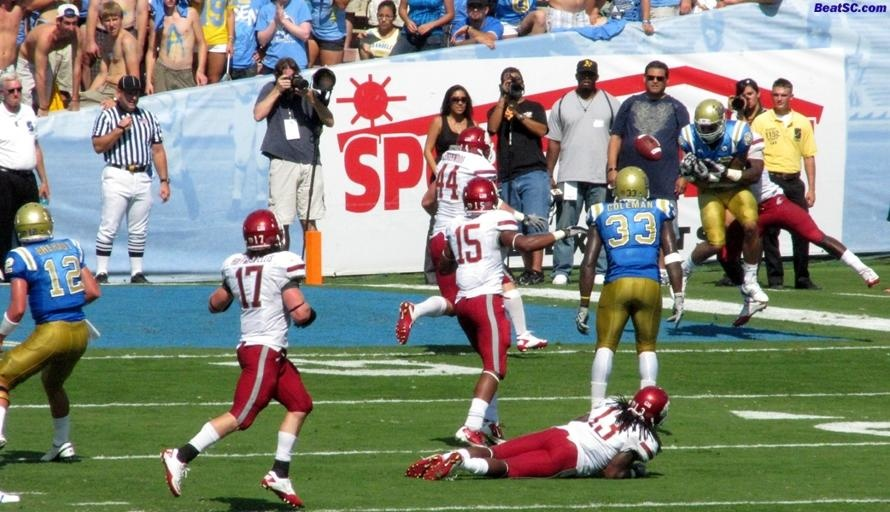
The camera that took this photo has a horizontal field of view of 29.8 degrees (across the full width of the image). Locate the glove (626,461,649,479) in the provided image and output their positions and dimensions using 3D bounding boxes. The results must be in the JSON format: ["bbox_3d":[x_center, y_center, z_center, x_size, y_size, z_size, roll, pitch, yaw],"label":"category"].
[{"bbox_3d":[2.112,2.336,18.499,0.202,0.172,0.096,-5,25,-32],"label":"glove"}]

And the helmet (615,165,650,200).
[{"bbox_3d":[2.225,-0.906,20.000,0.357,0.316,0.423,2,15,8],"label":"helmet"}]

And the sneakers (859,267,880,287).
[{"bbox_3d":[5.735,0.269,22.756,0.201,0.255,0.360,1,5,10],"label":"sneakers"}]

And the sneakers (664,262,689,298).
[{"bbox_3d":[2.868,0.222,20.670,0.261,0.273,0.685,-1,-17,-1],"label":"sneakers"}]

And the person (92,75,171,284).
[{"bbox_3d":[-4.804,-1.151,25.335,1.043,3.115,0.953,1,5,14],"label":"person"}]

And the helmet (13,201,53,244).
[{"bbox_3d":[-4.673,-0.386,19.018,0.426,0.367,0.489,-6,10,2],"label":"helmet"}]

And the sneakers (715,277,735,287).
[{"bbox_3d":[4.283,0.365,25.697,0.261,0.129,0.074,27,-23,36],"label":"sneakers"}]

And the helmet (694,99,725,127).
[{"bbox_3d":[3.501,-1.924,22.297,0.389,0.334,0.256,0,5,6],"label":"helmet"}]

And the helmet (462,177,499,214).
[{"bbox_3d":[0.434,-0.754,19.865,0.350,0.329,0.458,10,17,32],"label":"helmet"}]

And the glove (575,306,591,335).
[{"bbox_3d":[1.733,0.791,20.466,0.198,0.222,0.369,7,-27,-11],"label":"glove"}]

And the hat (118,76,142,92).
[{"bbox_3d":[-4.676,-2.561,24.819,0.232,0.155,0.317,-2,6,-36],"label":"hat"}]

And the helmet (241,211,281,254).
[{"bbox_3d":[-1.979,-0.301,18.360,0.421,0.360,0.491,0,8,17],"label":"helmet"}]

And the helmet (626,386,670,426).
[{"bbox_3d":[2.217,1.632,18.452,0.433,0.434,0.214,0,5,-1],"label":"helmet"}]

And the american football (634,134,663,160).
[{"bbox_3d":[2.809,-1.504,23.170,0.426,0.245,0.287,38,14,22],"label":"american football"}]

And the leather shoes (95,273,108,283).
[{"bbox_3d":[-5.257,0.305,25.650,0.204,0.100,0.274,1,-2,-5],"label":"leather shoes"}]

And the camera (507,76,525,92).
[{"bbox_3d":[1.061,-2.530,24.628,0.122,0.188,0.274,3,6,36],"label":"camera"}]

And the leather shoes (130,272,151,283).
[{"bbox_3d":[-4.718,0.312,25.895,0.144,0.111,0.285,1,-4,-37],"label":"leather shoes"}]

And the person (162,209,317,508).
[{"bbox_3d":[-2.174,1.059,18.178,1.502,3.118,1.102,-1,5,-6],"label":"person"}]

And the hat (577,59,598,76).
[{"bbox_3d":[2.118,-2.842,25.170,0.237,0.144,0.303,3,-8,4],"label":"hat"}]

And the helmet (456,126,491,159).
[{"bbox_3d":[0.373,-1.462,21.544,0.473,0.394,0.340,-9,12,-29],"label":"helmet"}]

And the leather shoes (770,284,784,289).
[{"bbox_3d":[5.077,0.439,25.656,0.130,0.036,0.093,5,-1,-31],"label":"leather shoes"}]

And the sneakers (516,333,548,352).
[{"bbox_3d":[1.074,1.080,21.638,0.562,0.268,0.181,-3,-1,0],"label":"sneakers"}]

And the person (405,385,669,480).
[{"bbox_3d":[1.030,1.829,18.604,2.911,0.977,1.097,-2,18,-12],"label":"person"}]

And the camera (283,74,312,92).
[{"bbox_3d":[-2.188,-2.595,25.120,0.281,0.228,0.263,6,-9,-29],"label":"camera"}]

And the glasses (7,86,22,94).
[{"bbox_3d":[-6.253,-2.453,24.485,0.117,0.089,0.209,2,5,25],"label":"glasses"}]

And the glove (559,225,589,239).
[{"bbox_3d":[1.577,-0.322,20.258,0.235,0.078,0.284,-3,3,41],"label":"glove"}]

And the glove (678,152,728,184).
[{"bbox_3d":[3.448,-1.176,22.452,0.528,0.214,0.379,13,5,-32],"label":"glove"}]
